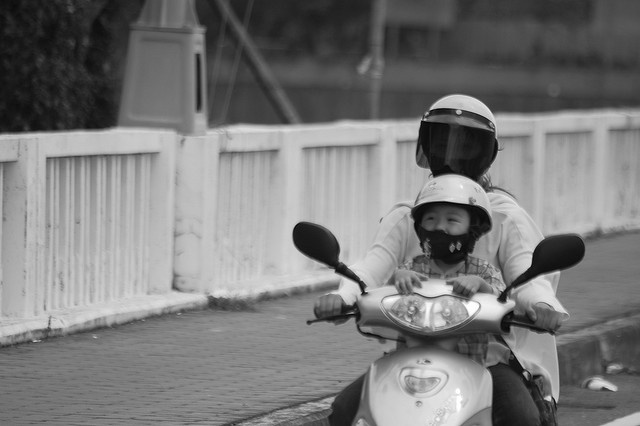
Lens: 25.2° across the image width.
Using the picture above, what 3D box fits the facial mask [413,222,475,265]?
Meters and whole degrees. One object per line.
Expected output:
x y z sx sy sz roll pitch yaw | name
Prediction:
0.869 0.218 9.941 0.285 0.158 0.315 6 -14 17 | facial mask

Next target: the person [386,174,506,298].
0.950 0.149 10.093 0.899 0.807 0.682 0 -8 20 | person

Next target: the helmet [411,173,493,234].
0.900 -0.061 9.949 0.430 0.356 0.522 -4 -6 28 | helmet
